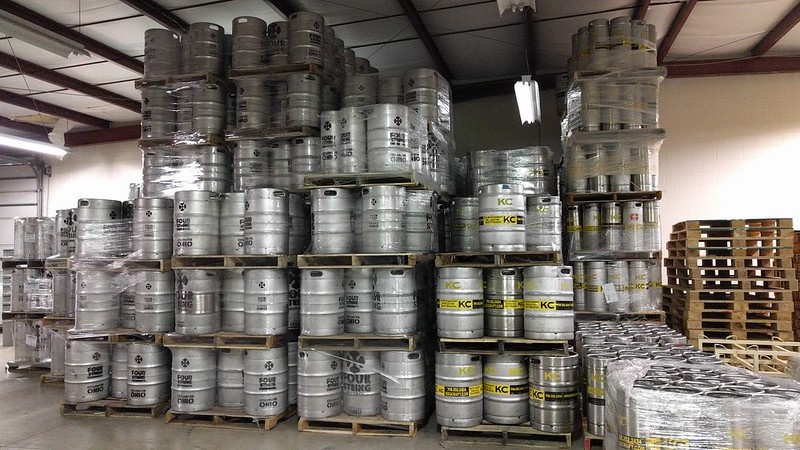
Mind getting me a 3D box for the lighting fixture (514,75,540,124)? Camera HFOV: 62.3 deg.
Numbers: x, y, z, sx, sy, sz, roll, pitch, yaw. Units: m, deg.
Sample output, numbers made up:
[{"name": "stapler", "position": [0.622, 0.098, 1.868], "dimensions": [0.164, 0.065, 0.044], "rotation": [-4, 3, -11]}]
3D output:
[{"name": "lighting fixture", "position": [3.066, -2.996, 15.794], "dimensions": [0.918, 0.272, 1.358], "rotation": [-4, -23, 8]}]
